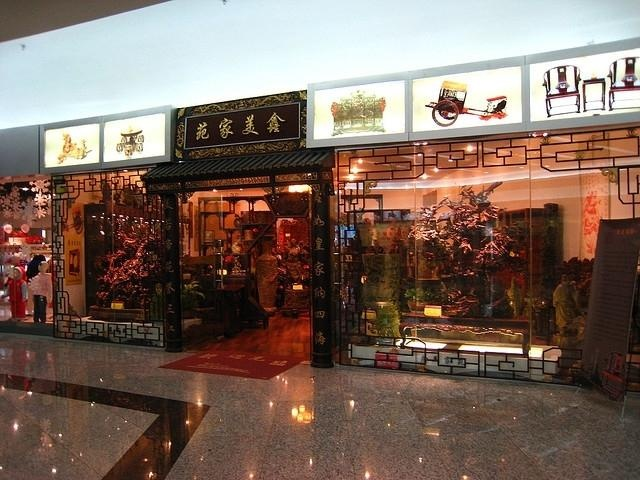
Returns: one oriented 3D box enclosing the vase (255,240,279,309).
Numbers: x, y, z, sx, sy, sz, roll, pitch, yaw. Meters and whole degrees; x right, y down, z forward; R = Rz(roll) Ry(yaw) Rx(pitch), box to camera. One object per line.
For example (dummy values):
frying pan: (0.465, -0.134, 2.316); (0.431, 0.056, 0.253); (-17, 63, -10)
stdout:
vase: (-1.300, 0.894, 12.302); (0.512, 1.726, 0.336); (-2, 9, -6)

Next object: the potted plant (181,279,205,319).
potted plant: (-2.402, 1.128, 9.399); (0.714, 0.754, 0.636); (3, -6, -14)

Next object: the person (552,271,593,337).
person: (3.682, 0.964, 7.334); (0.463, 0.930, 0.176); (2, 9, 20)

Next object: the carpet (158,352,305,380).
carpet: (-1.415, 2.058, 8.345); (2.007, 0.070, 1.240); (2, 7, 20)

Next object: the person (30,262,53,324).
person: (-6.141, 1.154, 11.043); (0.426, 1.284, 0.605); (-6, 10, -29)

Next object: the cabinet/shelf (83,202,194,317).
cabinet/shelf: (-3.903, 0.462, 9.843); (2.068, 2.248, 0.514); (2, 9, 24)

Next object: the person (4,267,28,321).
person: (-6.803, 1.204, 11.240); (0.417, 1.183, 0.232); (-4, 9, -16)
